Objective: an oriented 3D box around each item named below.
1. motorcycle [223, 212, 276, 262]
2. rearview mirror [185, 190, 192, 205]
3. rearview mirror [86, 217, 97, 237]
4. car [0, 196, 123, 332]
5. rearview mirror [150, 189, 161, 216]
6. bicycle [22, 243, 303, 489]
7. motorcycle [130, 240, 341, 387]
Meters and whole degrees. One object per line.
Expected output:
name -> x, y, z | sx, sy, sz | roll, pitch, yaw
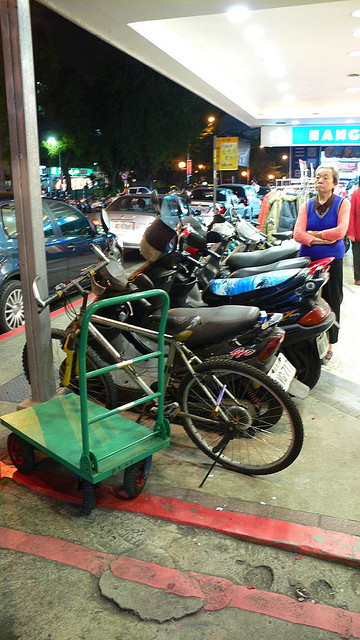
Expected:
motorcycle -> 1.067, -1.239, 6.602 | 0.594, 0.678, 1.018 | 12, 28, 6
rearview mirror -> 0.109, -1.578, 5.632 | 0.074, 0.059, 0.254 | 10, -14, 6
rearview mirror -> -1.533, -1.611, 7.635 | 0.215, 0.325, 0.122 | -3, -10, -9
car -> -1.865, -0.986, 6.514 | 1.297, 1.297, 2.445 | 11, 23, 34
rearview mirror -> -0.179, -0.903, 3.286 | 0.073, 0.057, 0.210 | -13, -5, 0
bicycle -> -0.258, 0.283, 2.966 | 2.120, 1.407, 0.883 | 9, 36, 29
motorcycle -> 0.347, -0.056, 3.851 | 1.980, 1.247, 0.831 | 7, 21, 27
